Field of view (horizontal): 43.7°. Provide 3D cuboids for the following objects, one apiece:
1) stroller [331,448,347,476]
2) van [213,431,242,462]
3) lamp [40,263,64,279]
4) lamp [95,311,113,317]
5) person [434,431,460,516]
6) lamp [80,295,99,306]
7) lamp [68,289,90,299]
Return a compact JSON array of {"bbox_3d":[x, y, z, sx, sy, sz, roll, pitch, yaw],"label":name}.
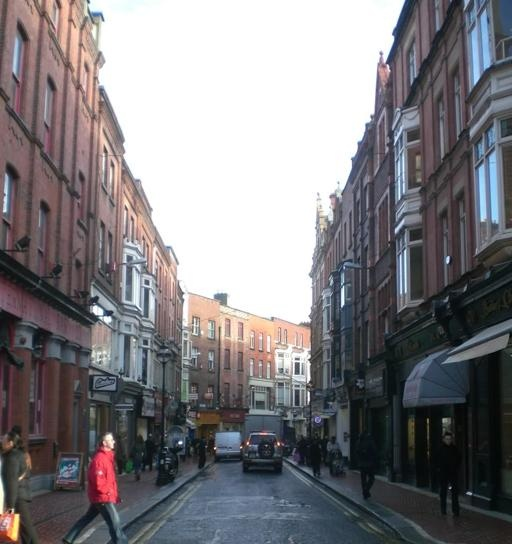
[{"bbox_3d":[3.527,8.297,27.839,0.629,1.215,1.517,-3,-21,7],"label":"stroller"},{"bbox_3d":[-2.174,13.135,48.845,1.920,2.247,1.993,2,-19,-10],"label":"van"},{"bbox_3d":[-6.186,0.020,19.273,0.599,0.642,0.504,-4,-12,-1],"label":"lamp"},{"bbox_3d":[-7.191,1.989,30.520,0.451,0.332,0.297,-3,-7,25],"label":"lamp"},{"bbox_3d":[3.916,4.074,12.909,0.445,1.667,0.894,-5,-17,15],"label":"person"},{"bbox_3d":[-6.353,1.089,24.347,0.547,0.545,0.455,1,-3,25],"label":"lamp"},{"bbox_3d":[-6.384,0.770,22.903,0.665,0.386,0.460,0,-4,7],"label":"lamp"}]
